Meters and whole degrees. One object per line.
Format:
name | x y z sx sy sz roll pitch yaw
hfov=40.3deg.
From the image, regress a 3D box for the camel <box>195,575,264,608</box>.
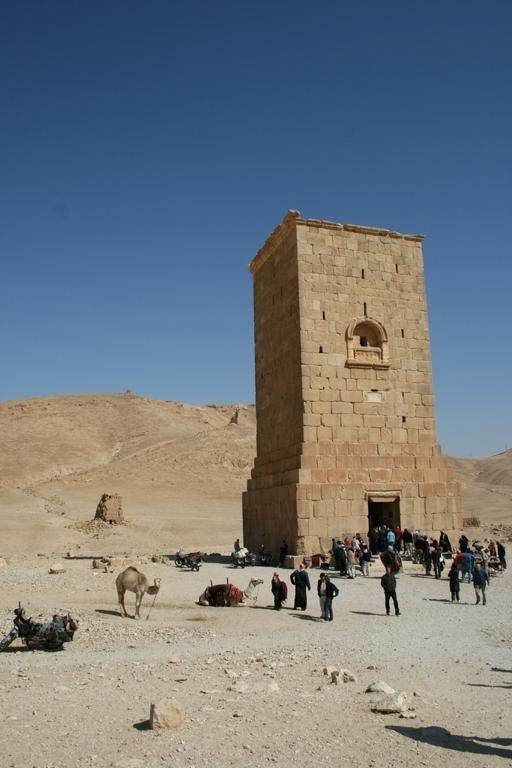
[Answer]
camel | -0.644 4.775 15.874 1.576 0.646 0.625 0 -7 -12
